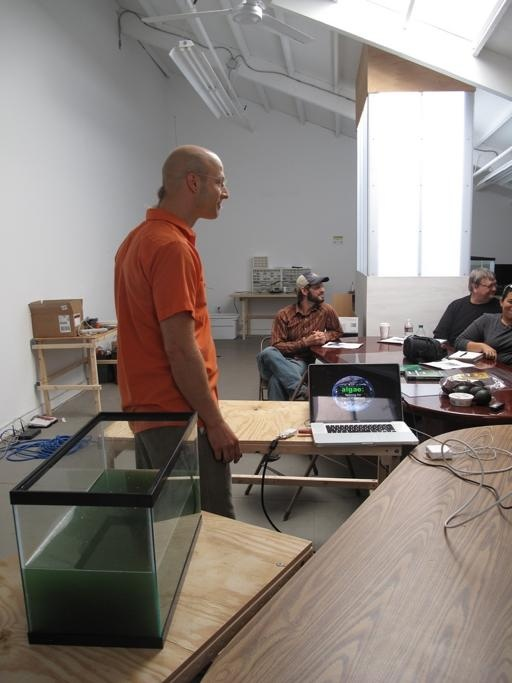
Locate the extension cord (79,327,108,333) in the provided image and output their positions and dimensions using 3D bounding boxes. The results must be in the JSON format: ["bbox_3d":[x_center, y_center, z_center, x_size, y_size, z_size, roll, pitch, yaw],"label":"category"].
[{"bbox_3d":[-1.458,-0.097,4.654,0.197,0.025,0.281,5,9,-5],"label":"extension cord"}]

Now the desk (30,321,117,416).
[{"bbox_3d":[-1.855,0.262,5.250,0.571,0.614,1.761,-2,5,-16],"label":"desk"}]

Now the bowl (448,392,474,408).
[{"bbox_3d":[0.886,0.256,2.219,0.093,0.055,0.063,6,9,4],"label":"bowl"}]

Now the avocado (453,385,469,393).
[{"bbox_3d":[0.913,0.213,2.281,0.037,0.025,0.041,-2,2,-6],"label":"avocado"}]

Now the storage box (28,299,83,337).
[{"bbox_3d":[-1.728,-0.193,4.461,0.350,0.242,0.321,-4,10,-3],"label":"storage box"}]

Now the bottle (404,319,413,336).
[{"bbox_3d":[1.173,-0.106,3.960,0.048,0.126,0.262,8,9,14],"label":"bottle"}]

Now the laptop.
[{"bbox_3d":[0.366,0.224,1.860,0.410,0.212,0.374,-5,12,-11],"label":"laptop"}]

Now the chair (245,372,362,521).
[{"bbox_3d":[0.282,0.627,2.964,0.605,1.058,0.729,2,-3,7],"label":"chair"}]

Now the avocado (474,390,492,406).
[{"bbox_3d":[0.960,0.240,2.181,0.069,0.062,0.067,-14,18,-19],"label":"avocado"}]
